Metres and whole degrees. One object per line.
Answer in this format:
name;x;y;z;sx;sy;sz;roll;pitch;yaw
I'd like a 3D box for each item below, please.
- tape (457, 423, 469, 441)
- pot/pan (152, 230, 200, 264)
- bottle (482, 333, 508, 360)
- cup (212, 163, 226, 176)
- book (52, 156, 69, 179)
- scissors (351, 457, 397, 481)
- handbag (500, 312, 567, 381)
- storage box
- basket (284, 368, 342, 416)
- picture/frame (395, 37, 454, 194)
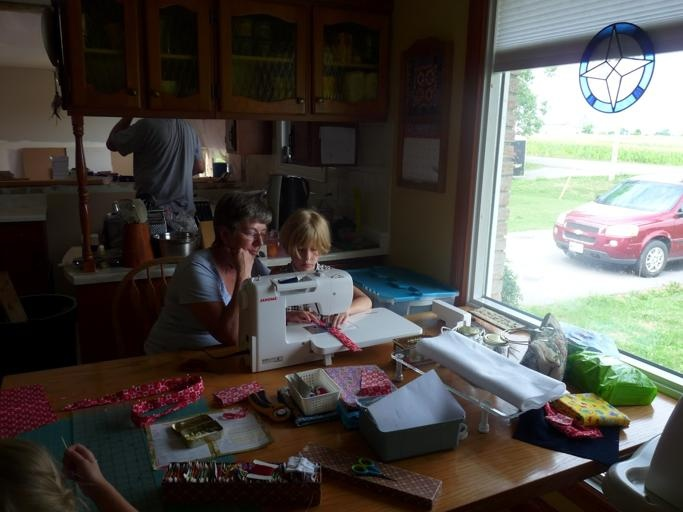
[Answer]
tape;0.381;0.550;1.606;0.041;0.021;0.058;-1;4;10
pot/pan;-0.931;-0.076;2.902;0.258;0.101;0.218;-3;18;-11
bottle;0.604;0.357;2.027;0.074;0.082;0.074;-1;12;-1
cup;-1.403;-1.009;5.967;0.160;0.167;0.192;-7;15;-19
book;-3.220;-1.014;5.886;0.177;0.228;0.638;-9;16;-27
scissors;0.081;0.587;1.433;0.084;0.013;0.045;13;22;29
handbag;0.744;0.351;1.915;0.146;0.122;0.233;-8;38;-4
storage box;0.295;0.150;2.732;0.273;0.126;0.387;-3;10;-21
basket;-0.091;0.452;1.720;0.117;0.059;0.165;-3;16;-21
picture/frame;0.448;-0.773;2.827;0.139;0.792;0.472;-7;16;-19
